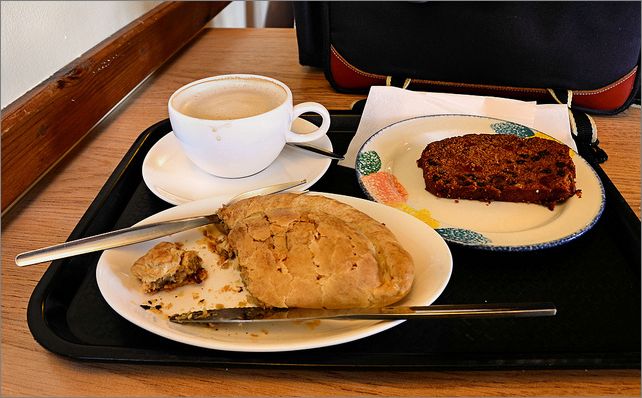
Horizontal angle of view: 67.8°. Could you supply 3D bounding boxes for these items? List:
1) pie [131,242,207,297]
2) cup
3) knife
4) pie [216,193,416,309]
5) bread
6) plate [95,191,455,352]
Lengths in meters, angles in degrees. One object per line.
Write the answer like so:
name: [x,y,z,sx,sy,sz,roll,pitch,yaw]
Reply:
pie: [-0.317,0.140,0.970,0.114,0.033,0.094,-12,48,-20]
cup: [-0.170,-0.174,1.196,0.355,0.161,0.261,6,36,-2]
knife: [0.052,0.216,0.899,0.533,0.044,0.023,-1,90,4]
pie: [-0.022,0.097,0.972,0.400,0.085,0.251,2,60,-3]
bread: [0.458,-0.077,1.212,0.303,0.075,0.209,6,39,10]
plate: [-0.091,0.125,0.846,0.518,0.039,0.332,-1,41,1]
